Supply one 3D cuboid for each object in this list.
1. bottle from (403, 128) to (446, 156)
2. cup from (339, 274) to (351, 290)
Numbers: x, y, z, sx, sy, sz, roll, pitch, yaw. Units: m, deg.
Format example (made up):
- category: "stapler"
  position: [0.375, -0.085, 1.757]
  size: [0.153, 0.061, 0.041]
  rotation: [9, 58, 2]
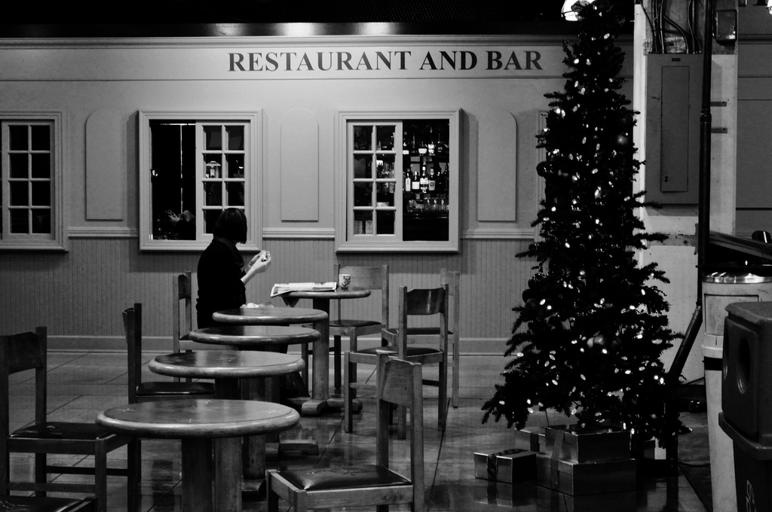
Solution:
- category: "bottle"
  position: [0.467, -1.417, 13.899]
  size: [0.542, 0.393, 0.070]
  rotation: [-1, 4, 8]
- category: "cup"
  position: [-0.467, 0.284, 12.208]
  size: [0.143, 0.155, 0.142]
  rotation: [1, 0, 0]
